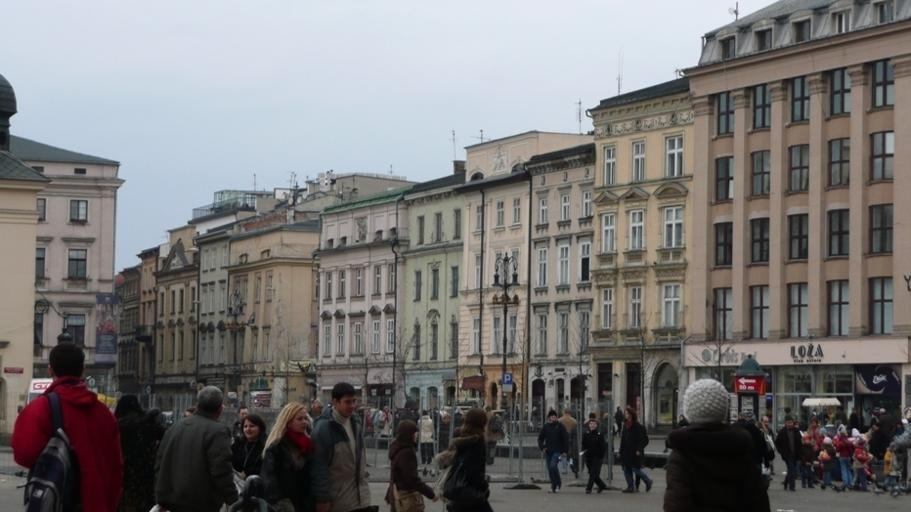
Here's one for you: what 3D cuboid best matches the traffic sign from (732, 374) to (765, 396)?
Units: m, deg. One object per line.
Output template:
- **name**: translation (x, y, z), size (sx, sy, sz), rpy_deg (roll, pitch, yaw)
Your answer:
- **traffic sign**: translation (16.574, 7.225, 97.534), size (1.047, 0.883, 1.491), rpy_deg (0, -10, 0)
